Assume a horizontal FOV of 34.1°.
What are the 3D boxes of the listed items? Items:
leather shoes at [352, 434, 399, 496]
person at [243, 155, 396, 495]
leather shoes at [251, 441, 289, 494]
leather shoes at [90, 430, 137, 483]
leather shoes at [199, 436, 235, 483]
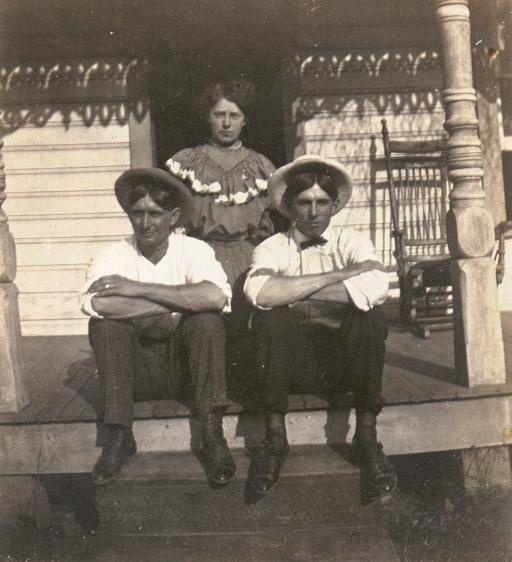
[{"bbox_3d":[0.568,0.919,4.057,0.169,0.306,0.096,-12,8,15],"label":"leather shoes"},{"bbox_3d":[0.307,0.223,4.285,0.742,1.734,0.864,-2,4,8],"label":"person"},{"bbox_3d":[0.051,0.905,4.031,0.155,0.262,0.192,0,5,25],"label":"leather shoes"},{"bbox_3d":[-0.669,0.850,4.134,0.107,0.272,0.333,0,5,26],"label":"leather shoes"},{"bbox_3d":[-0.185,0.877,4.044,0.125,0.228,0.204,-4,5,-26],"label":"leather shoes"}]
